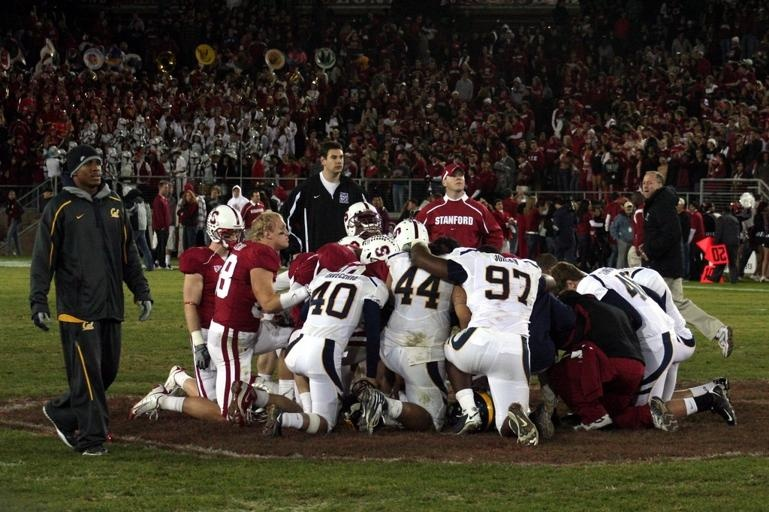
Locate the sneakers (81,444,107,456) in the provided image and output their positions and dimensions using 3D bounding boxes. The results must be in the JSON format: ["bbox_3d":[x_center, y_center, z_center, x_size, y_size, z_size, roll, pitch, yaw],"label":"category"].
[{"bbox_3d":[-4.139,2.778,17.008,0.335,0.148,0.148,3,-2,-5],"label":"sneakers"}]

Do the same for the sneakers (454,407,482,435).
[{"bbox_3d":[1.249,2.456,17.523,0.211,0.264,0.578,13,-32,-24],"label":"sneakers"}]

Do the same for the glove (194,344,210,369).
[{"bbox_3d":[-2.752,1.527,18.029,0.241,0.370,0.119,0,0,4],"label":"glove"}]

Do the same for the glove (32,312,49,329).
[{"bbox_3d":[-4.854,0.929,16.933,0.194,0.263,0.131,-7,-10,-1],"label":"glove"}]
